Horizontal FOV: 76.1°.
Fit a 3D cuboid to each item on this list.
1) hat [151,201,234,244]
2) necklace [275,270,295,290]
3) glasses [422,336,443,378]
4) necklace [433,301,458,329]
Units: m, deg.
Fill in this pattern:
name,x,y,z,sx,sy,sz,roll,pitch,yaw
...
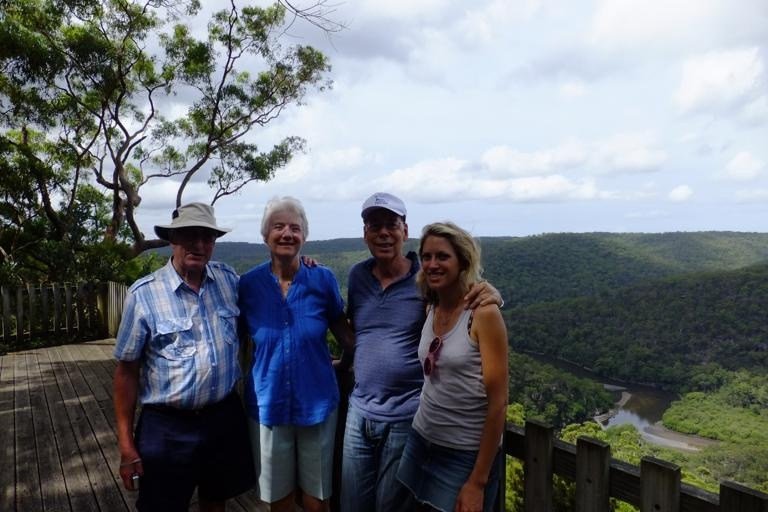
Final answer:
name,x,y,z,sx,sy,sz,roll,pitch,yaw
hat,-1.416,-0.224,3.591,0.526,0.218,0.605,1,-16,-24
necklace,-0.736,0.172,3.640,0.126,0.114,0.157,0,-41,-4
glasses,0.320,0.667,3.236,0.054,0.235,0.126,24,-11,-36
necklace,0.406,0.409,3.295,0.126,0.181,0.048,-8,-17,39
